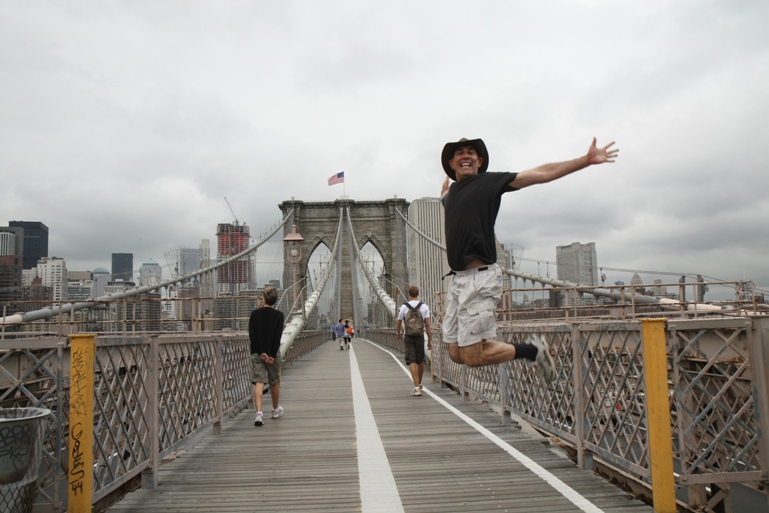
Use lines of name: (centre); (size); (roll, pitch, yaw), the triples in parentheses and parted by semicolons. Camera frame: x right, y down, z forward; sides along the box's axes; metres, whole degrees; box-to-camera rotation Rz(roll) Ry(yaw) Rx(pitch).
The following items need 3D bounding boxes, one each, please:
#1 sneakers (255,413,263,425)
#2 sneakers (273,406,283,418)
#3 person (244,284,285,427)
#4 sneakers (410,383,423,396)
sneakers: (-1.570, 2.051, 7.844); (0.073, 0.092, 0.195); (0, -20, -2)
sneakers: (-1.408, 2.076, 8.336); (0.071, 0.093, 0.204); (0, 8, 12)
person: (-1.548, 1.276, 8.218); (0.427, 1.722, 0.780); (-1, -3, -10)
sneakers: (0.525, 2.120, 9.967); (0.183, 0.171, 0.317); (-2, -3, 2)
